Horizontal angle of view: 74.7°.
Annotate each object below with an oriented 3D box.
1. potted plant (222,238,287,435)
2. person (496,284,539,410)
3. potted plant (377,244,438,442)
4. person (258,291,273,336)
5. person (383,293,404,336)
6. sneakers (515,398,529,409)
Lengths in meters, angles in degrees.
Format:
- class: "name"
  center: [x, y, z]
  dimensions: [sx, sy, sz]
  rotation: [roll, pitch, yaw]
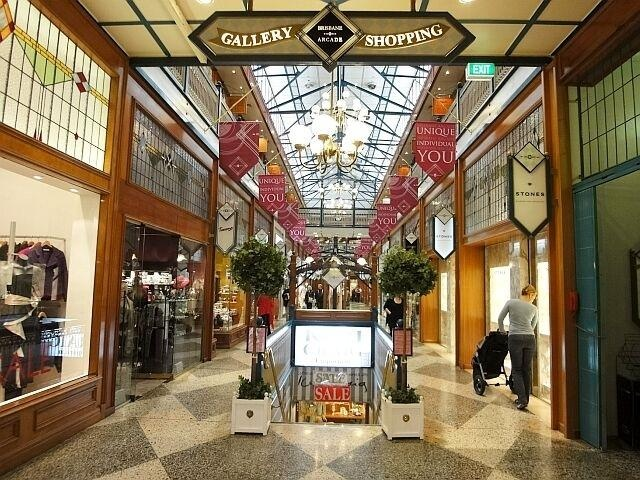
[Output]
- class: "potted plant"
  center: [-0.851, 1.235, 5.818]
  dimensions: [0.776, 2.536, 0.938]
  rotation: [1, -2, -13]
- class: "person"
  center: [3.150, 1.669, 6.616]
  dimensions: [0.551, 1.888, 0.345]
  rotation: [1, -2, -12]
- class: "potted plant"
  center: [1.260, 1.341, 6.192]
  dimensions: [0.762, 2.460, 1.854]
  rotation: [1, -1, 10]
- class: "person"
  center: [-1.270, 1.662, 9.800]
  dimensions: [0.332, 1.033, 0.283]
  rotation: [8, -36, -13]
- class: "person"
  center: [1.890, 1.951, 10.690]
  dimensions: [0.486, 1.331, 0.432]
  rotation: [3, 11, 7]
- class: "sneakers"
  center: [3.113, 2.523, 6.475]
  dimensions: [0.092, 0.120, 0.270]
  rotation: [-3, -28, 7]
